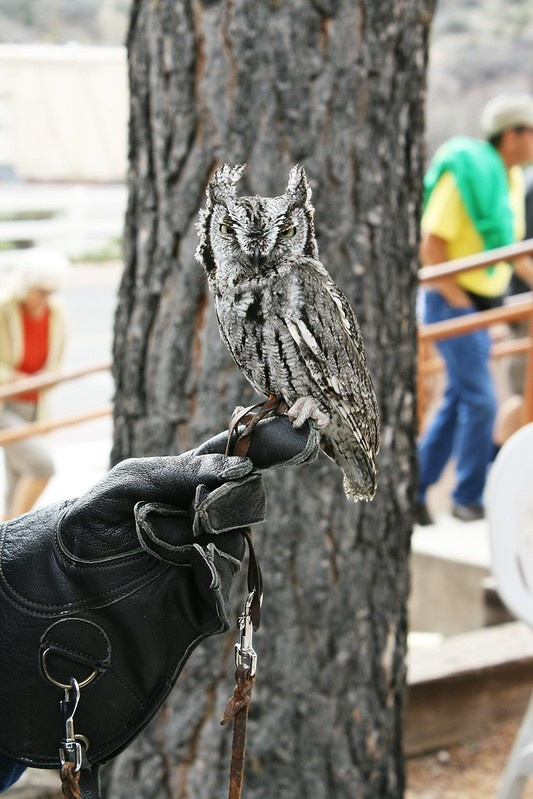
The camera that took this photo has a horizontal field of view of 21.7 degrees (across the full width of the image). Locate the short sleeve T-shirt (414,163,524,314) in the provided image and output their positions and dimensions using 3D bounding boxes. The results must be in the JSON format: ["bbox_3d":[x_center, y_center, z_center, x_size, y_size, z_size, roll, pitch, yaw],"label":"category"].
[{"bbox_3d":[0.819,-0.648,5.759,0.335,0.600,0.606,22,35,33],"label":"short sleeve T-shirt"}]
